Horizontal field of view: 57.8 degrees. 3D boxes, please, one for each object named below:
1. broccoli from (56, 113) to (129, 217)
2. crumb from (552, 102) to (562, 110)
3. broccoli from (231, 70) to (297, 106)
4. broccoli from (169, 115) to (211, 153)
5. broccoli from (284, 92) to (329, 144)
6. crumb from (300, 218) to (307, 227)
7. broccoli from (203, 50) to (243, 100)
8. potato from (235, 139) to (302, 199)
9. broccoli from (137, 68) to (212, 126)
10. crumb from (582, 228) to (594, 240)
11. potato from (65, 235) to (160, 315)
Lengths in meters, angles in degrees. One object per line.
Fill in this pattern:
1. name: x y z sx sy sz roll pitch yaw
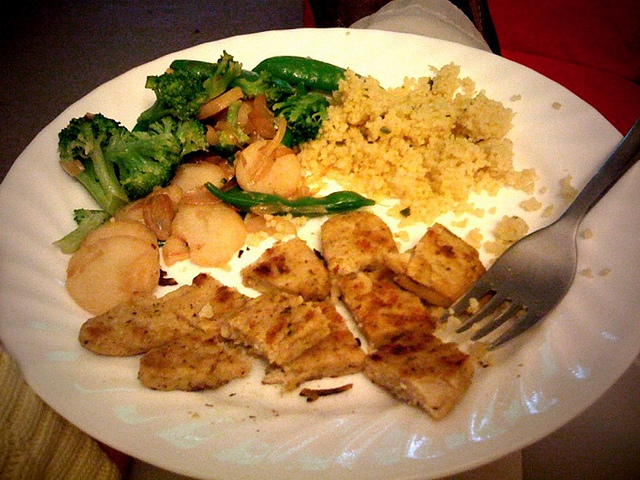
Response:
1. broccoli: -1.711 -0.624 4.516 0.490 0.734 0.574 -17 27 -20
2. crumb: 1.894 -1.070 4.644 0.057 0.022 0.065 -43 76 -9
3. broccoli: -0.451 -1.225 4.748 0.417 0.187 0.270 -27 76 -23
4. broccoli: -0.980 -0.799 4.462 0.293 0.096 0.284 29 78 -6
5. broccoli: -0.096 -0.979 4.656 0.280 0.201 0.488 34 78 12
6. crumb: -0.120 -0.141 4.574 0.039 0.034 0.068 27 77 11
7. broccoli: -0.770 -1.264 4.567 0.183 0.152 0.387 33 78 12
8. potato: -0.387 -0.554 4.555 0.496 0.201 0.406 9 74 6
9. broccoli: -1.102 -1.066 4.458 0.527 0.420 0.414 -9 21 -10
10. crumb: 1.881 -0.040 4.092 0.078 0.019 0.072 -30 74 -5
11. potato: -1.455 0.244 4.131 0.621 0.182 0.562 -40 90 -25
